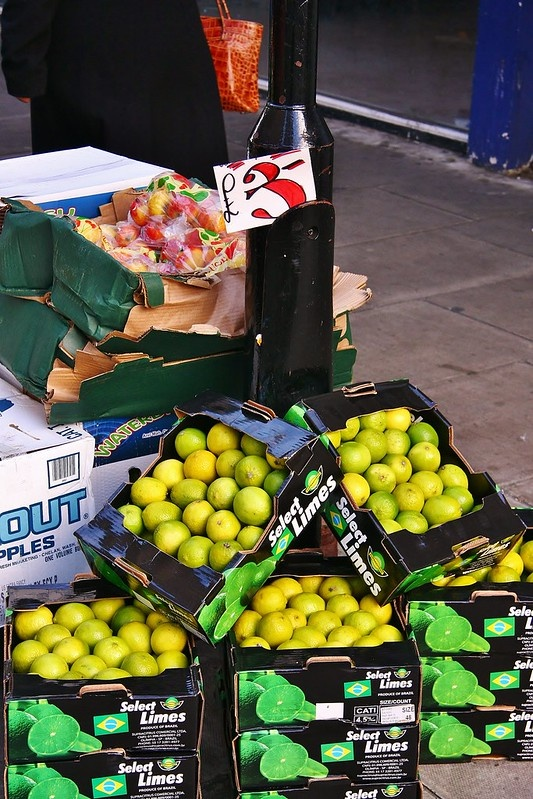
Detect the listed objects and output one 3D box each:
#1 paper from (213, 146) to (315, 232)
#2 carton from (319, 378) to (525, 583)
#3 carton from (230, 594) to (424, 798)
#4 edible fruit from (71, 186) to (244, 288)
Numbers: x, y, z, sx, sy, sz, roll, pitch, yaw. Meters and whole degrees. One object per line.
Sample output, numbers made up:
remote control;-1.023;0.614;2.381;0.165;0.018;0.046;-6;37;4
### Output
paper;0.001;-0.536;1.779;0.277;0.205;0.062;-6;22;-24
carton;0.353;0.230;1.769;0.384;0.159;0.479;-13;47;-18
carton;0.118;0.634;1.404;0.351;0.212;0.336;-3;24;-4
edible fruit;-0.308;-0.575;2.459;0.491;0.139;0.465;-22;40;-30
